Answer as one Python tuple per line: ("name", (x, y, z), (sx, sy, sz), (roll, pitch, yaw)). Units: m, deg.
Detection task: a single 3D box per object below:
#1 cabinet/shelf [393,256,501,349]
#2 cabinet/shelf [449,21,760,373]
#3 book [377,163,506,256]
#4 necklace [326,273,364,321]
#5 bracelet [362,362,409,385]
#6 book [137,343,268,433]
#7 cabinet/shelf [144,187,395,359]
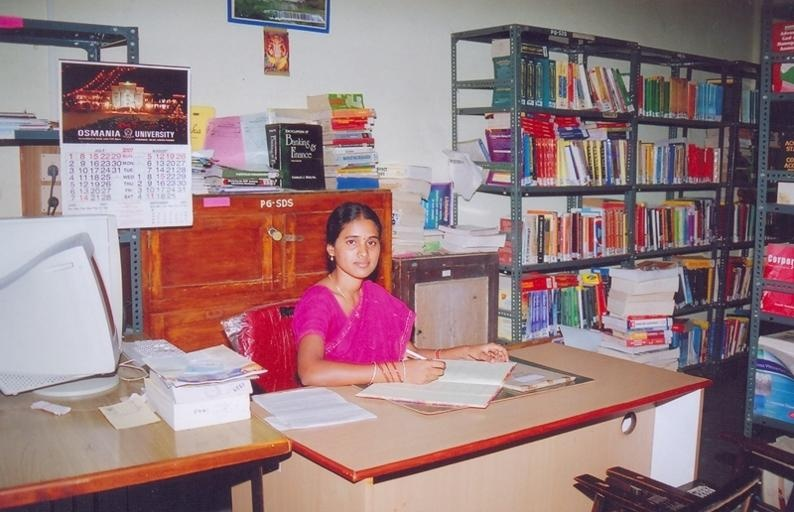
("cabinet/shelf", (0.303, 0.293, 3.837), (0.639, 0.600, 0.327), (0, 2, -30))
("cabinet/shelf", (1.581, -0.431, 4.549), (3.216, 2.718, 0.785), (-3, 3, -36))
("book", (0.254, -0.283, 4.115), (1.069, 0.703, 0.644), (-4, 8, -30))
("necklace", (-0.252, 0.184, 2.674), (0.160, 0.196, 0.199), (8, 0, -44))
("bracelet", (-0.040, 0.496, 2.418), (0.127, 0.095, 0.032), (-8, 10, 2))
("book", (-0.737, 0.446, 2.132), (0.281, 0.127, 0.345), (0, 5, -34))
("cabinet/shelf", (-0.724, 0.100, 3.008), (0.911, 0.828, 0.344), (-3, 6, -33))
